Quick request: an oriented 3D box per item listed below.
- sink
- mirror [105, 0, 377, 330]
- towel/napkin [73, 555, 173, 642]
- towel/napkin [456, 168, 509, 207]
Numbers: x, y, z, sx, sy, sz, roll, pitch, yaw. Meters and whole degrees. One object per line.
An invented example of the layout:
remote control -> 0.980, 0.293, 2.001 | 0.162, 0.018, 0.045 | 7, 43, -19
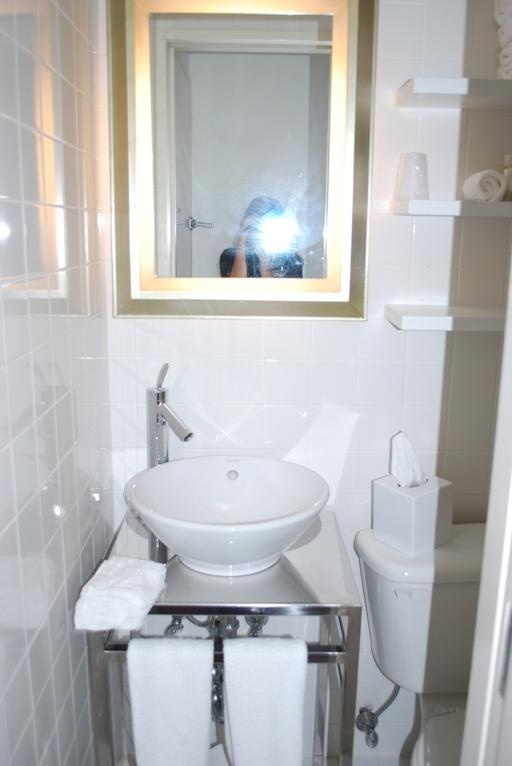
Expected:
sink -> -0.051, 0.259, 1.223 | 0.404, 0.122, 0.396 | -3, 12, -10
mirror -> -0.041, -0.526, 1.379 | 0.574, 0.912, 0.038 | 2, 21, 5
towel/napkin -> -0.244, 0.399, 1.134 | 0.143, 0.098, 0.198 | 0, 12, 4
towel/napkin -> 0.498, -0.424, 1.316 | 0.084, 0.087, 0.039 | -8, 3, 18
